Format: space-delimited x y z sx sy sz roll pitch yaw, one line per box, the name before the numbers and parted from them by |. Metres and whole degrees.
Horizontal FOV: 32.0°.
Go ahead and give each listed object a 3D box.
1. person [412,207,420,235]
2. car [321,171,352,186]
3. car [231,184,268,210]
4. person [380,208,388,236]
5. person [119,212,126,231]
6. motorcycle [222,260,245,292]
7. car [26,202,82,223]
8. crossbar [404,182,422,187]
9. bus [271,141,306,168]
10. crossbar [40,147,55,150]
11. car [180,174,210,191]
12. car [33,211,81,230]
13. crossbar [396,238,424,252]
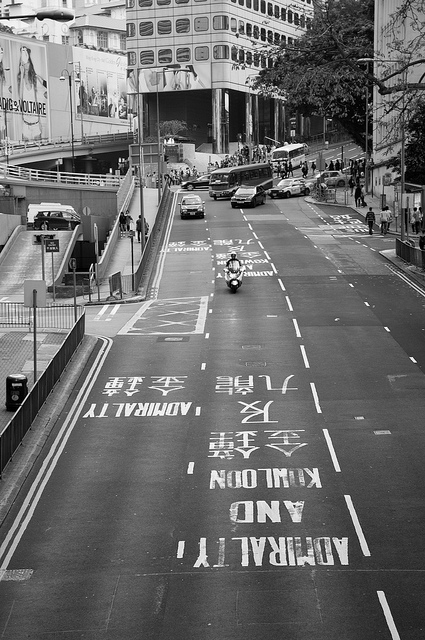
person | 15.730 -7.570 57.432 0.477 1.684 1.393 0 6 14
car | 14.198 -16.475 85.988 4.209 1.688 1.901 -4 7 -21
car | 3.476 -12.181 73.666 1.964 2.238 4.262 3 8 37
person | 13.083 -7.439 56.860 0.563 1.765 1.965 0 6 12
person | -7.170 -7.766 59.069 0.459 1.311 1.476 -2 6 -8
motorcycle | 1.123 -2.264 38.974 0.864 1.618 1.553 -1 6 3
car | -14.578 -10.003 66.332 3.938 2.427 2.720 -2 9 -8
crossbar | 17.524 -11.714 64.238 0.187 0.351 1.998 6 7 -34
bus | 11.724 -23.613 110.575 3.354 4.955 9.916 6 22 24
crossbar | -25.289 -26.076 112.639 0.565 0.497 2.736 1 7 22
car | -1.958 -16.310 88.739 3.804 1.763 1.978 0 11 -9
car | -13.306 -8.043 63.923 3.981 1.850 2.139 -5 10 -13
crossbar | 12.237 -4.673 46.276 0.264 0.136 2.682 2 28 -25
